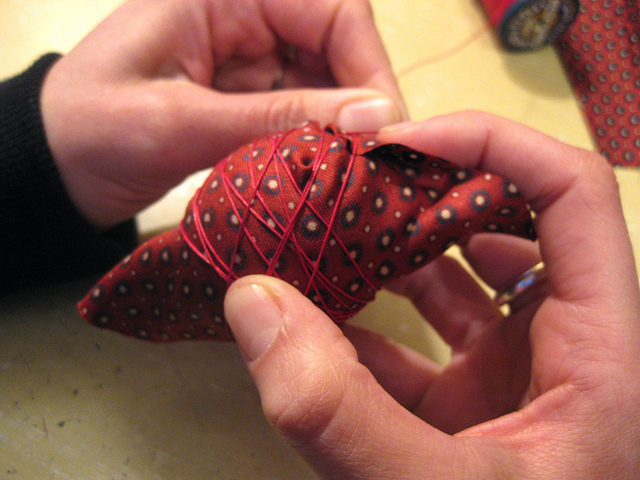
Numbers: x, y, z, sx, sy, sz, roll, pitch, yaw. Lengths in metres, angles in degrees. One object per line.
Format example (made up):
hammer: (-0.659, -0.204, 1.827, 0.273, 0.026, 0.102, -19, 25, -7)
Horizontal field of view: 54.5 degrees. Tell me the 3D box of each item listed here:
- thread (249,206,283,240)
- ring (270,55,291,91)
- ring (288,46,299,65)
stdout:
thread: (-0.073, -0.025, 0.855, 0.054, 0.009, 0.006, 45, 76, -3)
ring: (-0.073, -0.303, 1.143, 0.015, 0.041, 0.072, 19, 64, 16)
ring: (-0.049, -0.339, 1.143, 0.009, 0.024, 0.021, -13, 14, -34)
